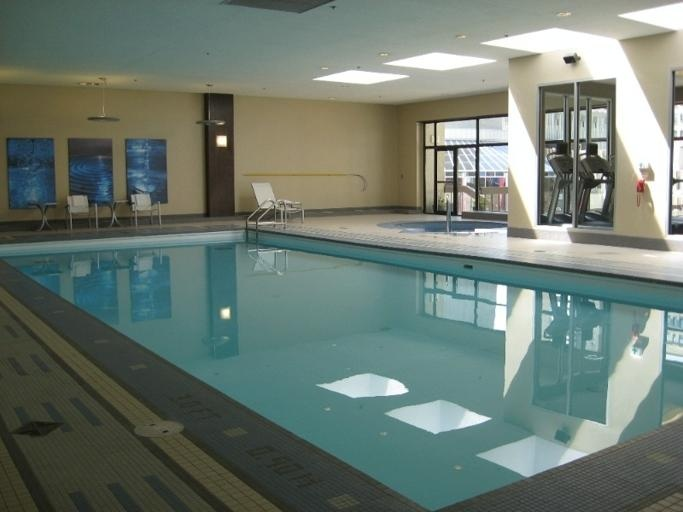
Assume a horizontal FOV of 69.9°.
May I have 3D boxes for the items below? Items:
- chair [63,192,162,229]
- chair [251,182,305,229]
[{"bbox_3d":[-6.267,-1.254,13.541,2.379,0.944,1.129,-7,12,-31],"label":"chair"},{"bbox_3d":[-1.925,-1.518,14.503,1.156,1.412,2.006,-7,11,-41],"label":"chair"}]
